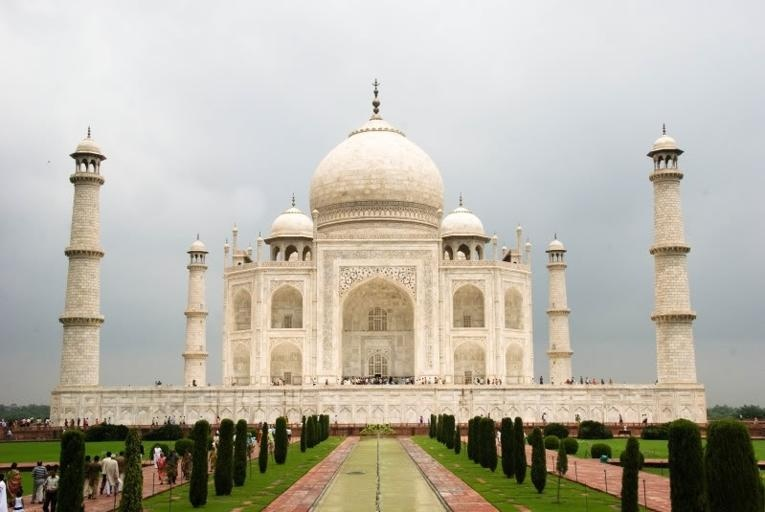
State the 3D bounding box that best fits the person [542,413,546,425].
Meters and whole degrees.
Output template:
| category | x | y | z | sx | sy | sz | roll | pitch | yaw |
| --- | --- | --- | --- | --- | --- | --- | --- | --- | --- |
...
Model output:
| category | x | y | z | sx | sy | sz | roll | pitch | yaw |
| --- | --- | --- | --- | --- | --- | --- | --- | --- | --- |
| person | 7.101 | 7.186 | 47.148 | 0.220 | 0.531 | 1.007 | -4 | -12 | 8 |
